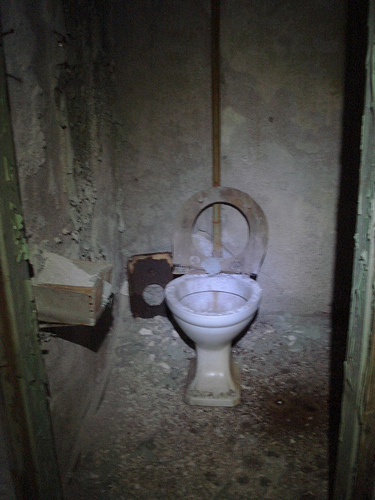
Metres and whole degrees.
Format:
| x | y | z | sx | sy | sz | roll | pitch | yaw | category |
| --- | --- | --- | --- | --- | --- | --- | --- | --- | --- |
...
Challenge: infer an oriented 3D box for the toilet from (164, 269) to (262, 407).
| x | y | z | sx | sy | sz | roll | pitch | yaw | category |
| --- | --- | --- | --- | --- | --- | --- | --- | --- | --- |
| 0.089 | 0.343 | 1.834 | 0.450 | 0.520 | 0.482 | 0 | 23 | 4 | toilet |

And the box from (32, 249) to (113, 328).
| x | y | z | sx | sy | sz | roll | pitch | yaw | category |
| --- | --- | --- | --- | --- | --- | --- | --- | --- | --- |
| -0.330 | 0.123 | 1.276 | 0.287 | 0.194 | 0.128 | -5 | -14 | 43 | box |

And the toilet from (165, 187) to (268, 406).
| x | y | z | sx | sy | sz | roll | pitch | yaw | category |
| --- | --- | --- | --- | --- | --- | --- | --- | --- | --- |
| 0.114 | 0.151 | 1.814 | 0.423 | 0.806 | 0.649 | 1 | 16 | 5 | toilet |
